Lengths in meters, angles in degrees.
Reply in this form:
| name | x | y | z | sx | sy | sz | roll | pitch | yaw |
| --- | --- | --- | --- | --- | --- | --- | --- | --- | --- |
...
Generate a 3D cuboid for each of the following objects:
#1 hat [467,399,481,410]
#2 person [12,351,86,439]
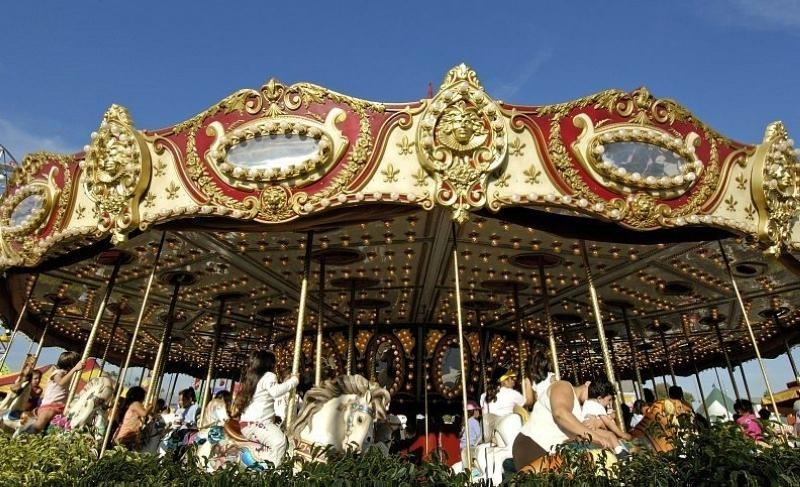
| name | x | y | z | sx | sy | sz | roll | pitch | yaw |
| --- | --- | --- | --- | --- | --- | --- | --- | --- | --- |
| hat | 1.968 | 4.316 | 14.575 | 0.490 | 0.220 | 0.687 | -2 | -16 | 4 |
| person | -6.827 | 3.006 | 10.647 | 1.239 | 1.739 | 0.794 | 2 | -10 | -4 |
